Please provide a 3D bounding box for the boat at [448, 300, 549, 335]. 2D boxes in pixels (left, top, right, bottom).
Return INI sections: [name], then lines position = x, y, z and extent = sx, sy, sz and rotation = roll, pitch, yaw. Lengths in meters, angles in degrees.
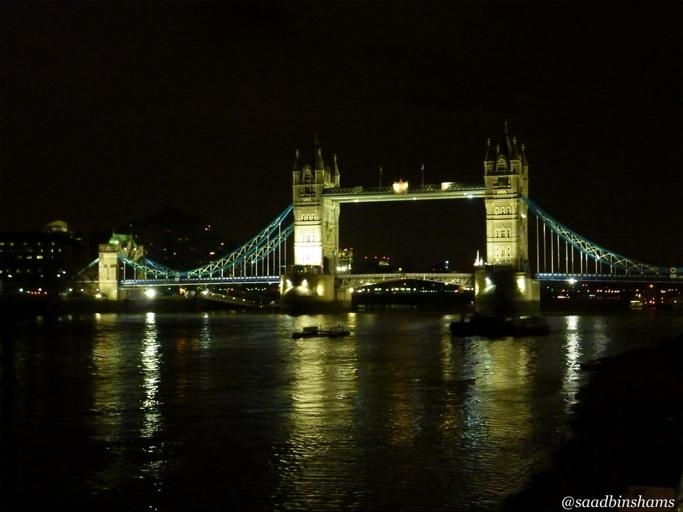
[boat]
position = 9.854, 3.463, 48.231
extent = 7.853, 1.467, 2.254
rotation = 2, -5, -17
